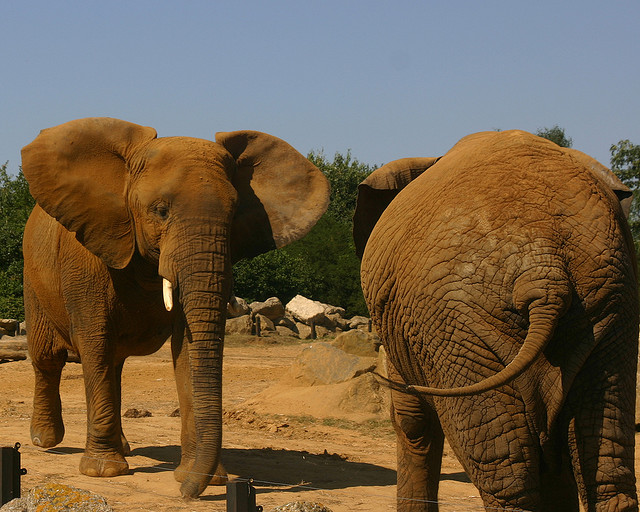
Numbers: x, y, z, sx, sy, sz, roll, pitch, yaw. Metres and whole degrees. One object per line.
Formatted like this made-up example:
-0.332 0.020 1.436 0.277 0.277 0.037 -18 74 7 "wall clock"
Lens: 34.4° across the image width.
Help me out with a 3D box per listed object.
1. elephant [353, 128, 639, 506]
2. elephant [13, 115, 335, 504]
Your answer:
1.059 0.370 6.133 1.554 2.253 0.831 -1 -2 18 "elephant"
-1.902 0.507 10.531 2.984 3.314 4.862 2 -3 -27 "elephant"
